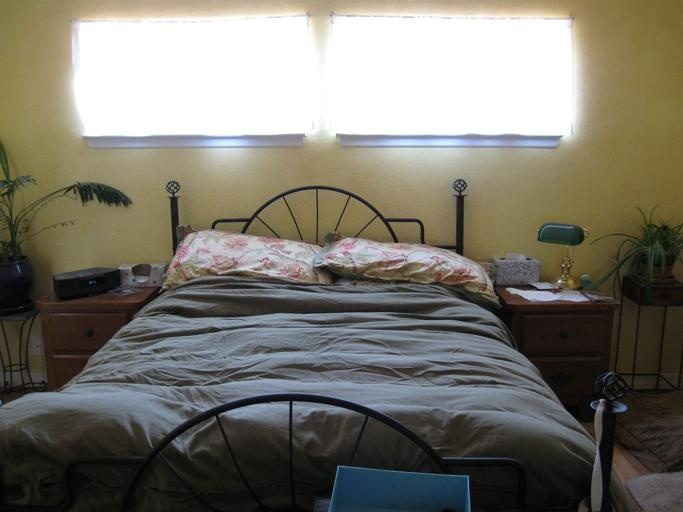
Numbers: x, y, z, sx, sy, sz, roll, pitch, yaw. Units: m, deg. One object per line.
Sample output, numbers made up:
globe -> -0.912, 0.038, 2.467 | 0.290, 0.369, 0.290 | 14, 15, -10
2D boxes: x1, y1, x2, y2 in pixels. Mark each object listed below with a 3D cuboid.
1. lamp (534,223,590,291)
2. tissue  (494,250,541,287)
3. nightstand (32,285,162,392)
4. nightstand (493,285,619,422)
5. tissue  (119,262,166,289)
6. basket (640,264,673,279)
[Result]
lamp -> 1.213, 0.002, 3.109 | 0.248, 0.334, 0.251 | -2, 4, -35
tissue  -> 1.018, 0.066, 3.347 | 0.230, 0.121, 0.214 | 0, 6, 4
nightstand -> -1.342, 0.399, 3.261 | 0.719, 0.599, 0.486 | -1, 7, -6
nightstand -> 1.211, 0.533, 3.278 | 0.576, 0.615, 0.476 | 0, 8, 2
tissue  -> -1.145, 0.105, 3.303 | 0.290, 0.120, 0.147 | 0, 19, -4
basket -> 1.833, 0.088, 3.294 | 0.139, 0.046, 0.136 | 1, 2, 3
